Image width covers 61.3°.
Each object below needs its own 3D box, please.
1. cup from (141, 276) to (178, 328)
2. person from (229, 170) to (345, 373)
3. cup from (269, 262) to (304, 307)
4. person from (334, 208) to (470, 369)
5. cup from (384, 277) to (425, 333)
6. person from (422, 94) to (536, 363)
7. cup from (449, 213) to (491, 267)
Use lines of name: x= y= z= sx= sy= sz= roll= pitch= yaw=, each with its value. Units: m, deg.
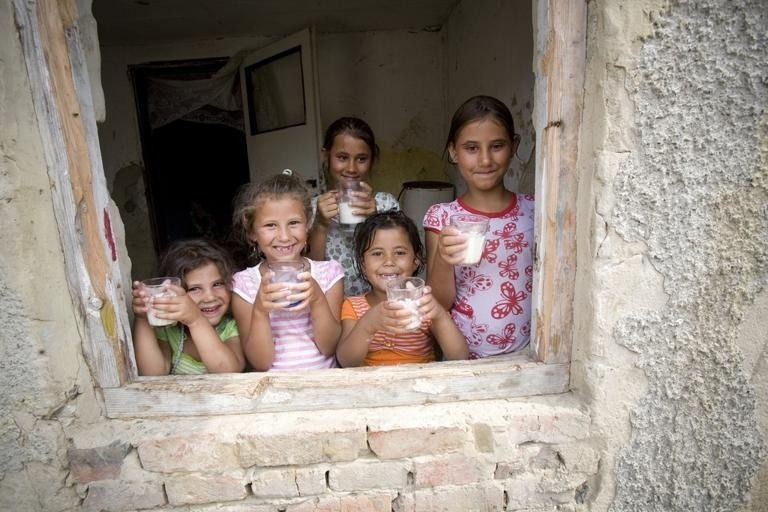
cup: x=-0.916 y=0.196 z=2.666 sx=0.132 sy=0.206 sz=0.108 roll=-4 pitch=8 yaw=20
person: x=-0.469 y=0.198 z=3.027 sx=0.558 sy=1.102 sz=0.727 roll=-2 pitch=8 yaw=-3
cup: x=-0.394 y=0.110 z=2.706 sx=0.177 sy=0.187 sz=0.173 roll=1 pitch=13 yaw=0
person: x=0.045 y=0.280 z=3.056 sx=0.604 sy=0.922 sz=0.677 roll=-6 pitch=10 yaw=-6
cup: x=0.092 y=0.194 z=2.666 sx=0.205 sy=0.217 sz=0.205 roll=-3 pitch=7 yaw=0
person: x=0.443 y=-0.130 z=3.001 sx=0.548 sy=1.201 sz=0.513 roll=-6 pitch=8 yaw=5
cup: x=0.352 y=-0.063 z=2.875 sx=0.219 sy=0.224 sz=0.214 roll=5 pitch=1 yaw=0
